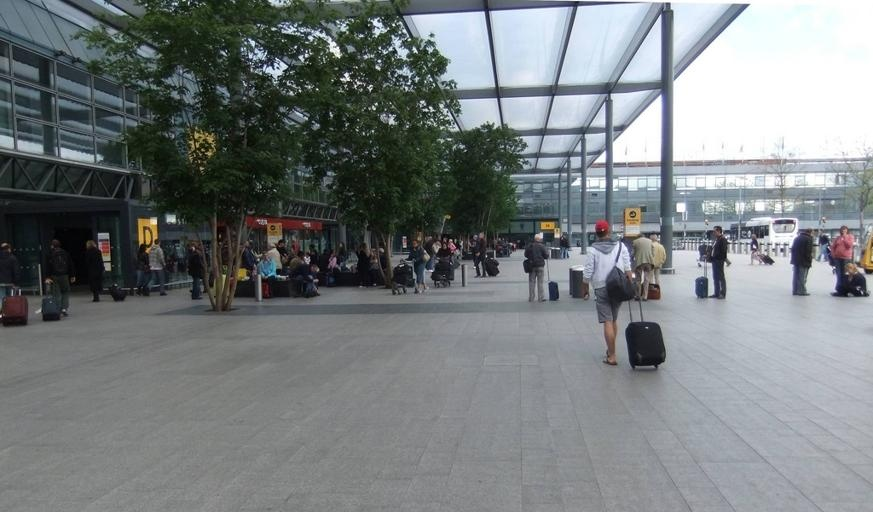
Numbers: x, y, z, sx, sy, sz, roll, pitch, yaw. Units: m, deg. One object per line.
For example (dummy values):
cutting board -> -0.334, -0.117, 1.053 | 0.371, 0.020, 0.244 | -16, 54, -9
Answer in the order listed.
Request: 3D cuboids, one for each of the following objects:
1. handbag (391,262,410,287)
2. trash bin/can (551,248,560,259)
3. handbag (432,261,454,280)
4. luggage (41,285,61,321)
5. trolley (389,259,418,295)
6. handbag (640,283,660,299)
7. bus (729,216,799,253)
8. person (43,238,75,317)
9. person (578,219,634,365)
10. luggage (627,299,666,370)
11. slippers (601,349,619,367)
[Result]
handbag -> -1.403, 0.766, 26.216 | 0.808, 0.914, 0.790 | 1, -3, -1
trash bin/can -> 10.391, -0.228, 56.279 | 0.831, 0.899, 0.845 | -1, -4, -1
handbag -> 0.230, 0.605, 28.502 | 0.853, 0.837, 0.781 | -4, -3, 31
luggage -> -12.364, 1.358, 20.538 | 0.533, 1.304, 0.451 | 3, -28, -40
trolley -> -1.321, 0.867, 26.325 | 0.941, 1.481, 1.062 | -7, -5, -7
handbag -> 7.055, 1.167, 21.272 | 0.483, 0.446, 0.660 | 2, -2, -5
bus -> 32.734, -2.370, 65.395 | 2.860, 3.143, 10.412 | -1, 2, 4
person -> -12.901, 0.729, 22.027 | 0.737, 2.626, 0.791 | -2, 2, 35
person -> 3.746, 0.724, 14.242 | 1.050, 2.782, 1.575 | 0, 0, 8
luggage -> 4.347, 1.873, 13.393 | 0.763, 0.980, 0.478 | 2, 15, 15
slippers -> 3.763, 2.180, 13.985 | 0.185, 0.199, 0.495 | 1, 6, 5
